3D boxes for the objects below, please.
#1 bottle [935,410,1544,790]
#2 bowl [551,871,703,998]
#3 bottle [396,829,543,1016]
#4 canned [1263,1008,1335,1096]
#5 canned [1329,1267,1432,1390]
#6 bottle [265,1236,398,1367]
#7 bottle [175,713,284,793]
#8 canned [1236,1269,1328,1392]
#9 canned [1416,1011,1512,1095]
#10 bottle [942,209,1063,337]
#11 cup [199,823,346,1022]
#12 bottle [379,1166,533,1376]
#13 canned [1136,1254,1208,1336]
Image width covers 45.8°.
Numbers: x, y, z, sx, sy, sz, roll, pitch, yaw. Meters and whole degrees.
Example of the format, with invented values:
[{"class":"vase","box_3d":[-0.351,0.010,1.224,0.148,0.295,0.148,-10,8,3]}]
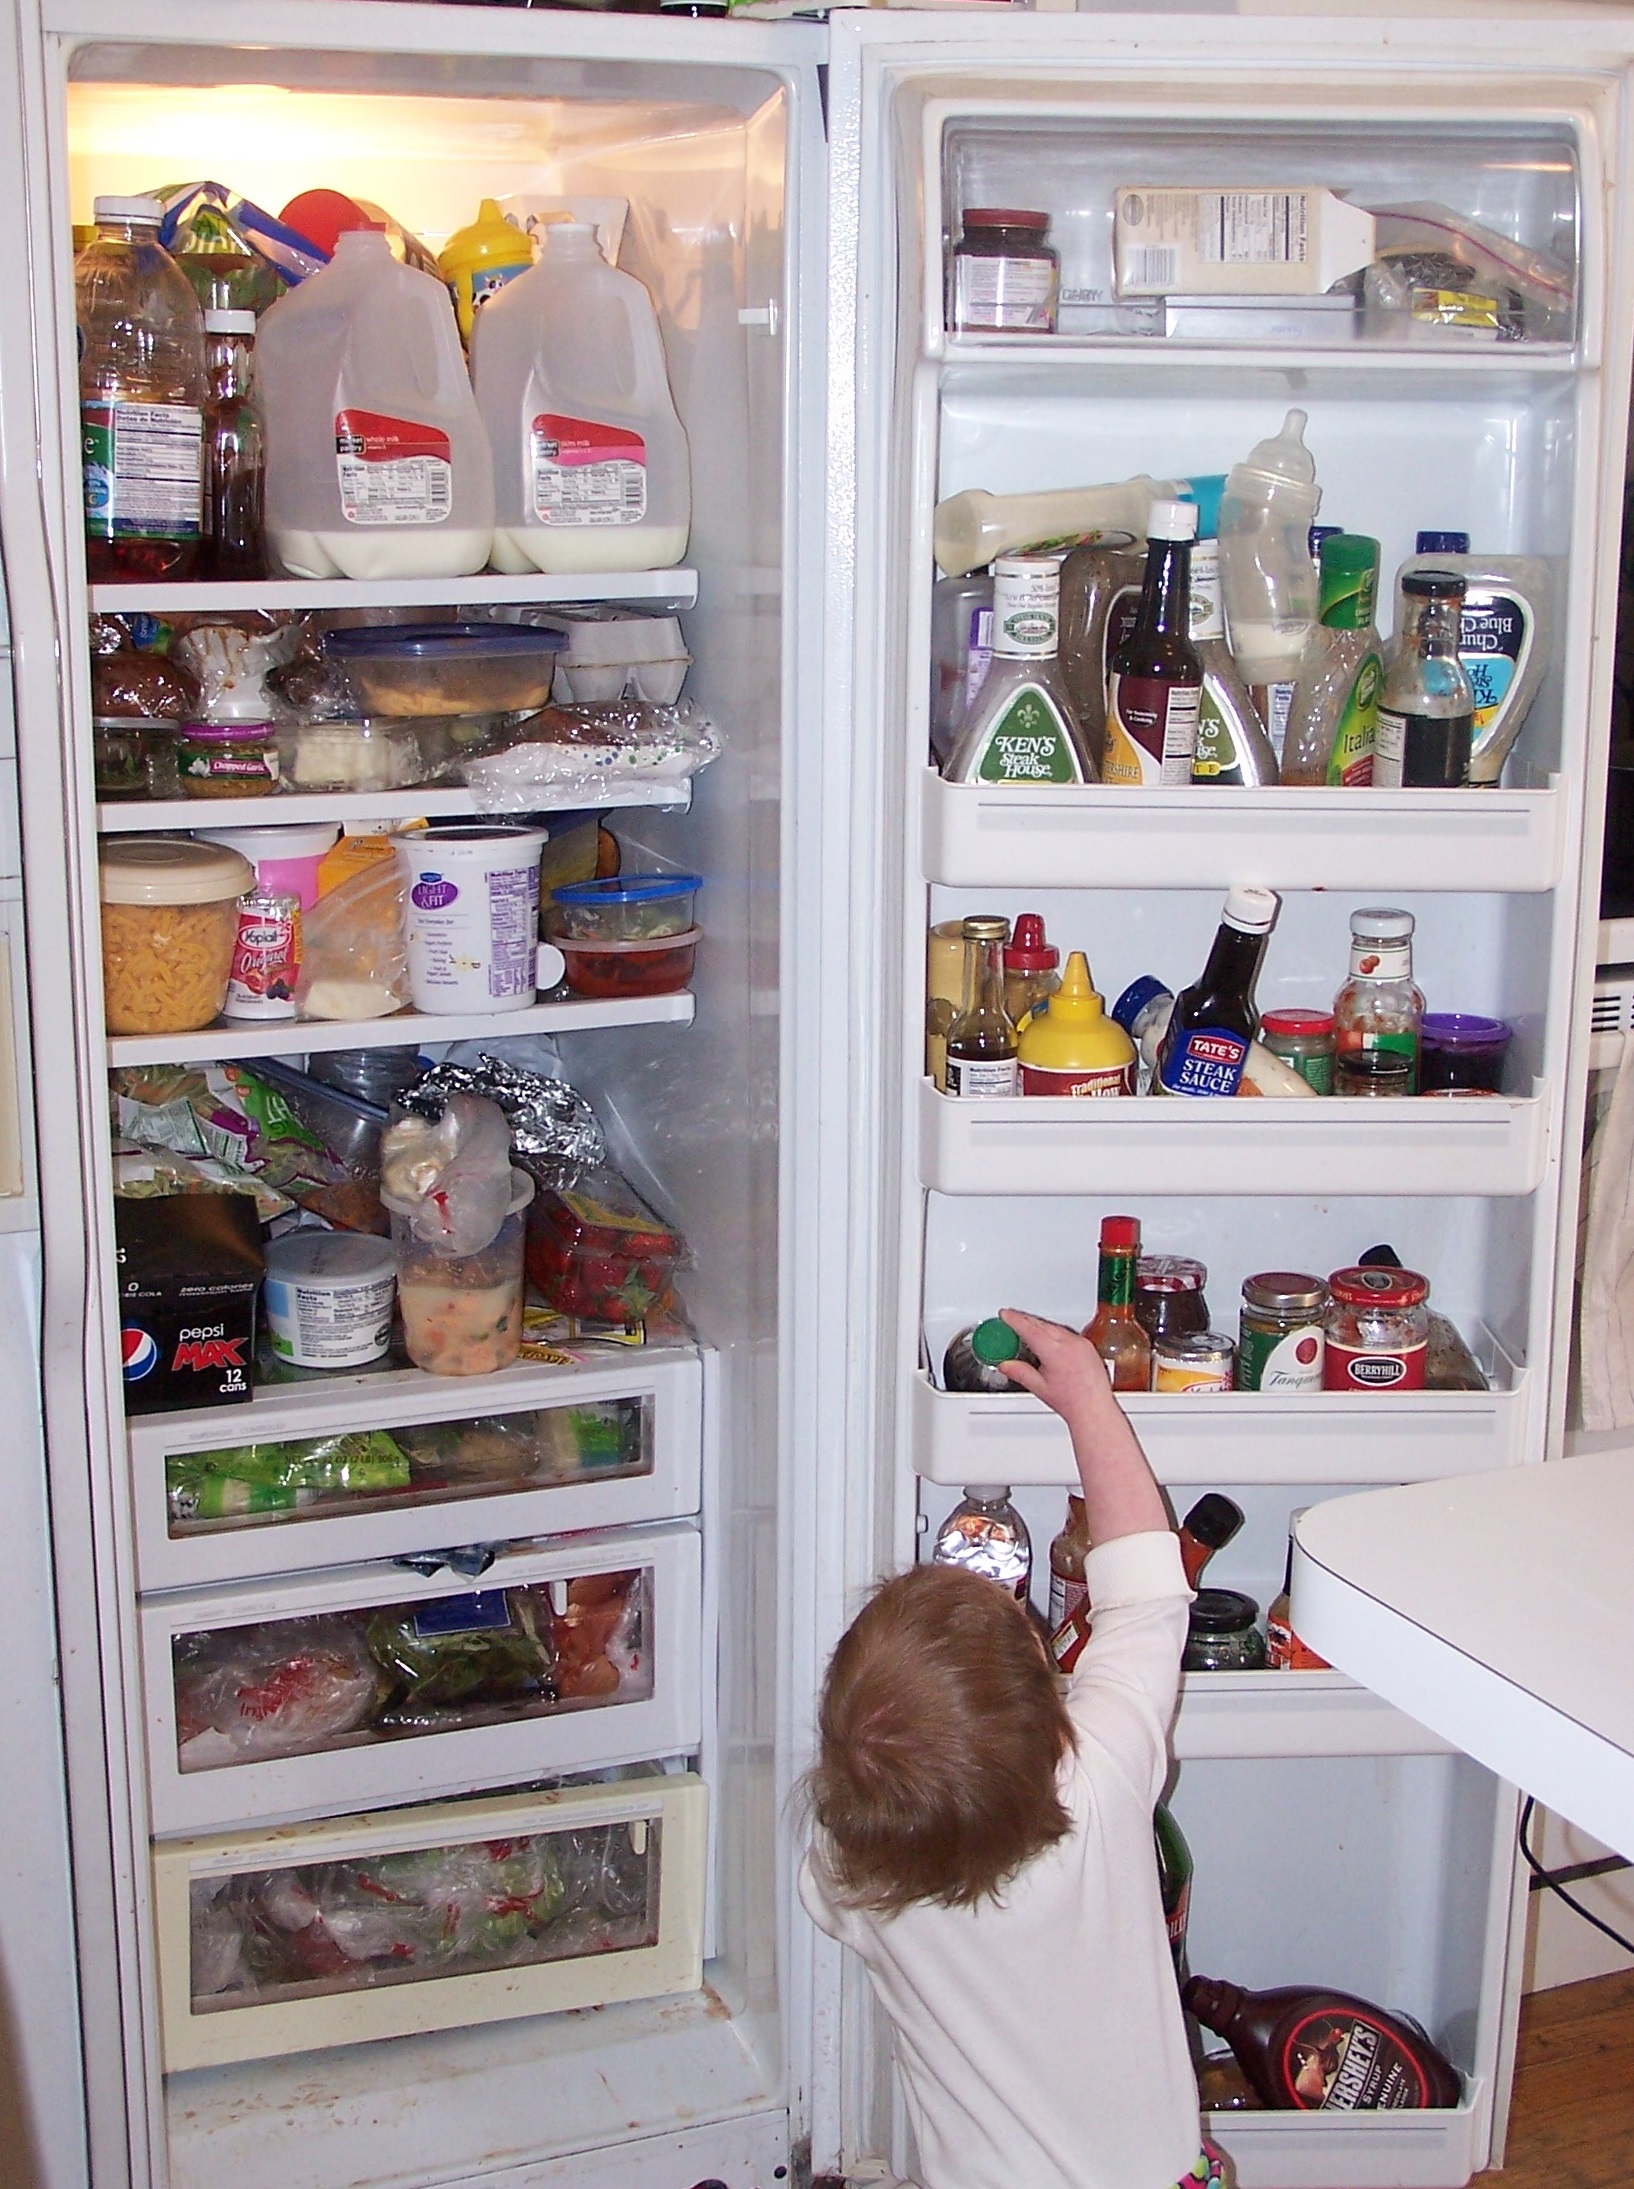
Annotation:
[{"class":"bottle","box_3d":[0.270,-0.326,1.299,0.309,0.249,0.098,-1,31,-1]},{"class":"bowl","box_3d":[-0.144,-0.134,1.589,0.114,0.075,0.097,-13,19,-34]},{"class":"bottle","box_3d":[-0.259,-0.133,1.448,0.137,0.143,0.135,-4,8,-27]},{"class":"canned","box_3d":[0.329,-0.033,1.345,0.056,0.078,0.054,0,2,7]},{"class":"canned","box_3d":[0.405,0.169,1.400,0.071,0.100,0.154,0,14,17]},{"class":"bottle","box_3d":[-0.387,0.158,1.550,0.102,0.073,0.099,4,8,-1]},{"class":"bottle","box_3d":[-0.422,-0.245,1.385,0.057,0.041,0.055,2,11,0]},{"class":"canned","box_3d":[0.332,0.173,1.386,0.063,0.084,0.046,-1,14,11]},{"class":"canned","box_3d":[0.451,-0.028,1.361,0.058,0.049,0.059,17,25,39]},{"class":"bottle","box_3d":[0.106,-0.502,1.197,0.080,0.082,0.087,0,23,1]},{"class":"cup","box_3d":[-0.400,-0.133,1.513,0.129,0.163,0.131,4,10,-1]},{"class":"bottle","box_3d":[-0.282,0.139,1.548,0.131,0.162,0.135,-1,6,-9]},{"class":"canned","box_3d":[0.259,0.147,1.424,0.056,0.050,0.054,1,3,3]}]
